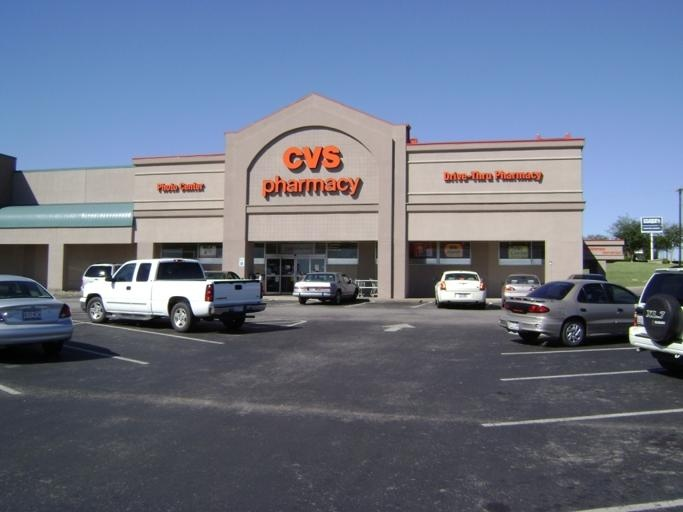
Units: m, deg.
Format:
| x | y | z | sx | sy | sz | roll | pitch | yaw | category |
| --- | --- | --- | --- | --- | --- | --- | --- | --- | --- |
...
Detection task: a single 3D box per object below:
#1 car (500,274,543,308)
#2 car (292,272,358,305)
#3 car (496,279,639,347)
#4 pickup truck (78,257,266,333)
| x | y | z | sx | sy | sz | roll | pitch | yaw | category |
| --- | --- | --- | --- | --- | --- | --- | --- | --- | --- |
| 7.634 | 1.781 | 25.105 | 1.678 | 1.434 | 4.107 | 0 | 1 | 11 | car |
| -0.687 | 1.600 | 29.405 | 1.837 | 1.660 | 3.374 | 2 | 4 | 25 | car |
| 5.794 | 1.360 | 15.134 | 3.349 | 1.247 | 1.580 | -5 | 3 | -26 | car |
| -5.178 | 1.083 | 18.243 | 5.080 | 1.982 | 2.264 | 3 | 0 | 27 | pickup truck |
